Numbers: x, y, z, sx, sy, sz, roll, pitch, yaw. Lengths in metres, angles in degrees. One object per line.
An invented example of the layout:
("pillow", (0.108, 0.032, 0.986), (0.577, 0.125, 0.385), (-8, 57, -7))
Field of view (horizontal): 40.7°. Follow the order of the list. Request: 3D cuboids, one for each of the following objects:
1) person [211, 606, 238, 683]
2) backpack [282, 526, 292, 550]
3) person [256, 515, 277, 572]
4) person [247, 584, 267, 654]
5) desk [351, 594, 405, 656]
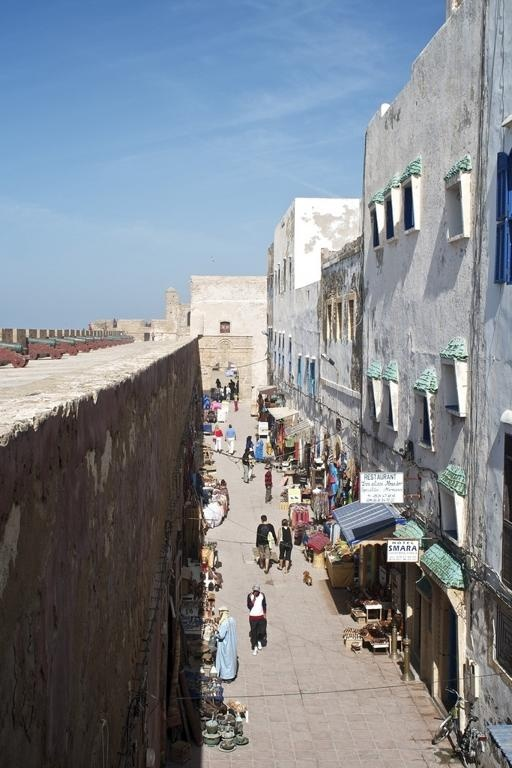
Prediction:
("person", (-0.454, 3.881, 10.510), (0.364, 1.133, 0.818), (1, 2, -1))
("backpack", (0.704, 3.463, 15.689), (0.186, 0.559, 0.406), (3, 3, 38))
("person", (0.210, 3.643, 15.592), (0.336, 1.111, 0.552), (1, 2, 5))
("person", (0.023, 3.925, 11.659), (0.319, 1.003, 0.590), (1, 2, 1))
("desk", (2.139, 4.133, 12.201), (0.760, 0.743, 1.659), (3, 3, 5))
